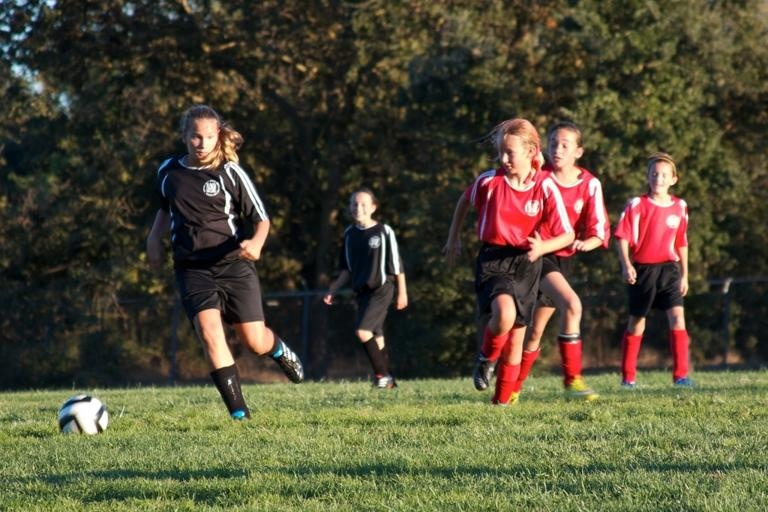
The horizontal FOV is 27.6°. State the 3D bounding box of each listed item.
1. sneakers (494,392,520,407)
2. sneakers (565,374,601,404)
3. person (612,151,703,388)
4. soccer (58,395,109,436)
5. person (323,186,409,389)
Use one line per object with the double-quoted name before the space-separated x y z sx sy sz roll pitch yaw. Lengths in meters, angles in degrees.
"sneakers" 1.991 2.304 24.734 0.162 0.231 0.520 -9 -16 39
"sneakers" 3.131 2.151 24.959 0.258 0.304 0.649 -2 -1 -44
"person" 4.578 0.231 26.434 1.247 3.961 1.109 -3 -4 4
"soccer" -4.594 2.466 23.957 0.604 0.620 0.601 31 29 36
"person" -0.228 0.572 27.617 1.198 3.576 0.619 -2 -4 -1
